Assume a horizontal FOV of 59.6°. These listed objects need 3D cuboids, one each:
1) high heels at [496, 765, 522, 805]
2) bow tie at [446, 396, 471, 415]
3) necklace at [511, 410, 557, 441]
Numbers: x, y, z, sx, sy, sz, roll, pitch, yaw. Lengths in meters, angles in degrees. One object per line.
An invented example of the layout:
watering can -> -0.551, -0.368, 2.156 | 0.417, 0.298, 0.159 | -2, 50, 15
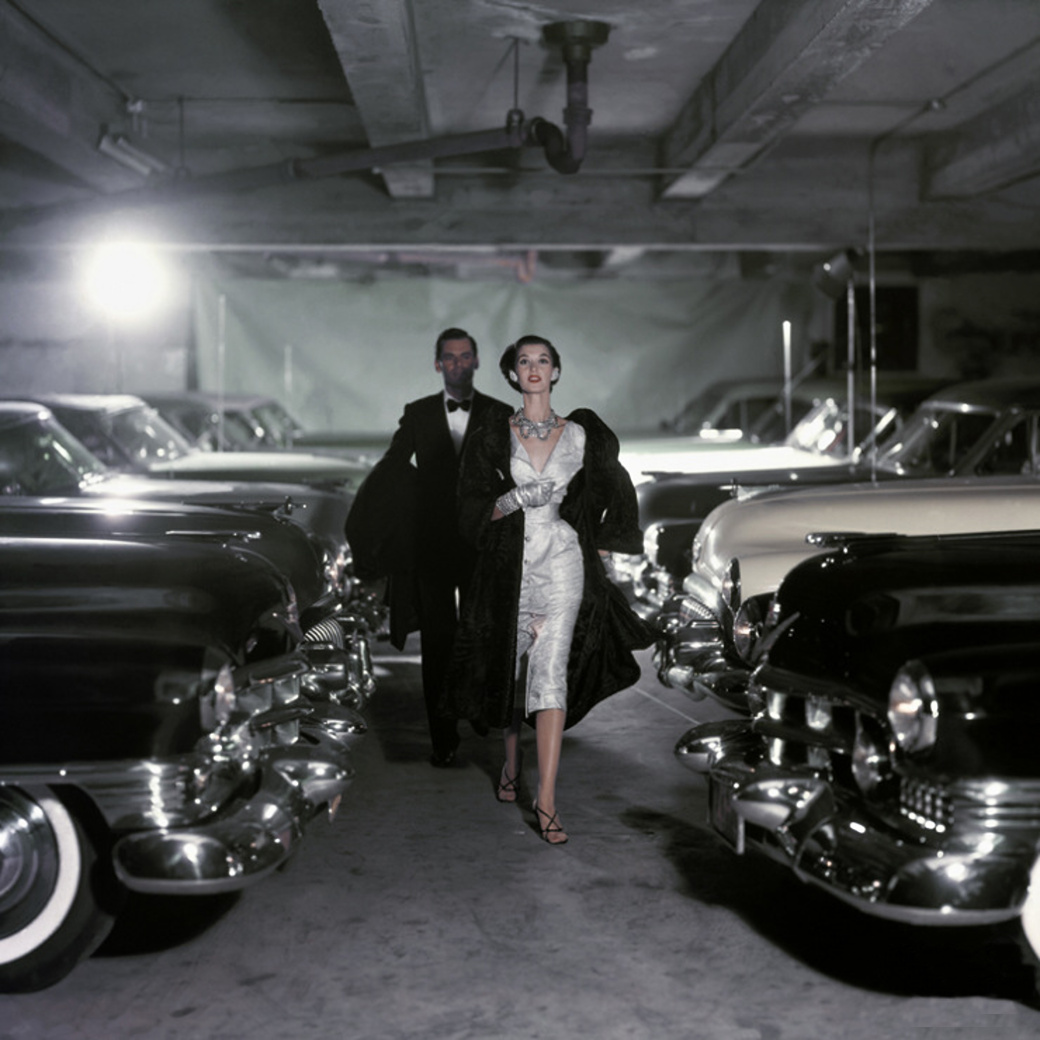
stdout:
high heels -> -0.046, 1.114, 3.804 | 0.114, 0.119, 0.331 | 0, -8, -2
bow tie -> -0.305, -0.564, 4.429 | 0.106, 0.056, 0.017 | -1, 0, -5
necklace -> 0.057, -0.373, 3.566 | 0.153, 0.108, 0.046 | 8, 34, 9
